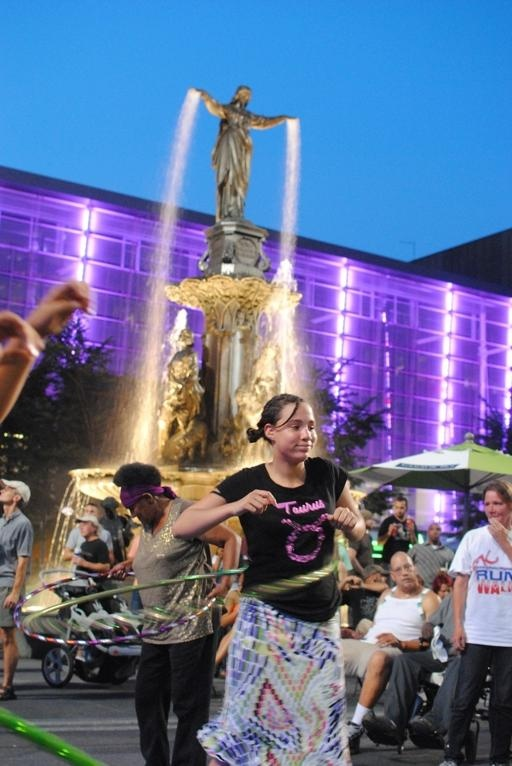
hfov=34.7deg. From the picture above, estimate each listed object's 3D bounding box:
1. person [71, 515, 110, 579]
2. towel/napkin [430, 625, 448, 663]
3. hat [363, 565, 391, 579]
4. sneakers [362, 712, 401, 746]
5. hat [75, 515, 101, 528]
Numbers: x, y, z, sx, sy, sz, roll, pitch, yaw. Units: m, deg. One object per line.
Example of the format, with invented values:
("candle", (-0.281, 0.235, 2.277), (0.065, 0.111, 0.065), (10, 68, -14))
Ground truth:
("person", (-1.828, 1.824, 9.167), (0.435, 0.669, 1.150), (5, -4, -11))
("towel/napkin", (1.398, 1.997, 6.253), (0.096, 0.214, 0.150), (1, -26, 4))
("hat", (1.420, 2.191, 9.574), (0.274, 0.121, 0.180), (-1, -9, -8))
("sneakers", (0.940, 2.531, 6.063), (0.314, 0.196, 0.158), (35, 26, -12))
("hat", (-1.879, 1.558, 9.206), (0.231, 0.090, 0.174), (25, -23, -28))
